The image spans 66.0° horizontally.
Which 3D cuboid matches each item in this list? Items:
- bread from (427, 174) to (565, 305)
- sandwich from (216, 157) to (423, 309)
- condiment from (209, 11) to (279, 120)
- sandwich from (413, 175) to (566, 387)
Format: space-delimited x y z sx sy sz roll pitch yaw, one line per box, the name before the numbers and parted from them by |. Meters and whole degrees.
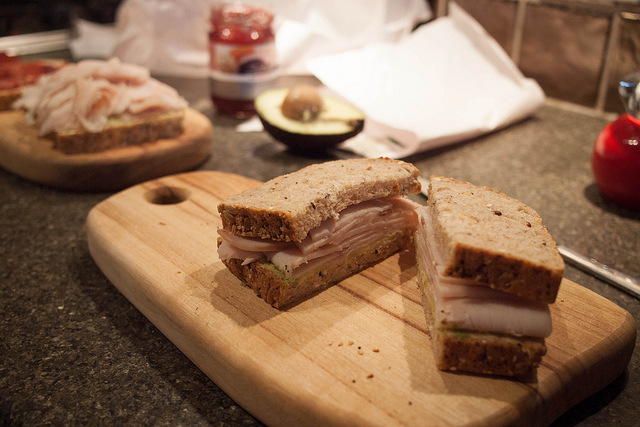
bread | 0.515 0.036 1.562 0.383 0.124 0.526 15 30 -12
sandwich | 0.017 0.026 1.775 0.370 0.311 0.787 18 28 42
condiment | -0.404 -0.753 2.475 0.350 0.509 0.335 1 29 -8
sandwich | 0.528 0.150 1.607 0.376 0.334 0.676 9 26 -1
